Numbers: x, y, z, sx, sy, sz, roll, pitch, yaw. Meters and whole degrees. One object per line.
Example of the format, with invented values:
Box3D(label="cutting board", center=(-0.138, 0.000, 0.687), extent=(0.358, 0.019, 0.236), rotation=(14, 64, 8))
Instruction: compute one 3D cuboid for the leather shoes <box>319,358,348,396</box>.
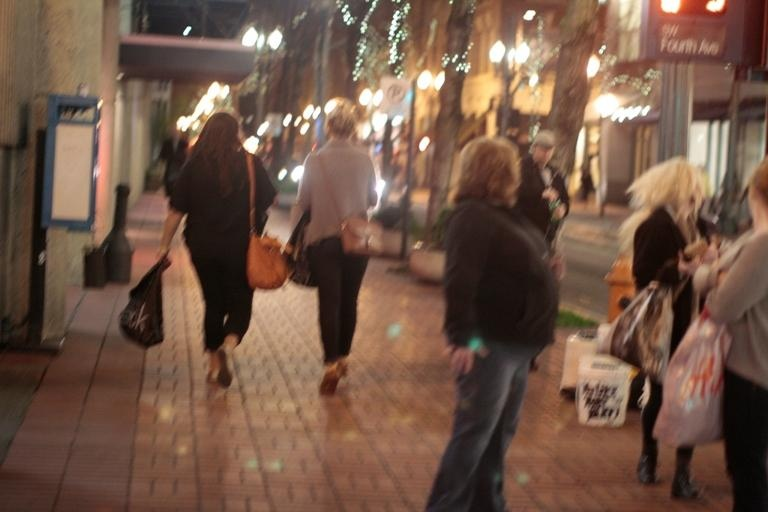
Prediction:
Box3D(label="leather shoes", center=(-0.546, 1.205, 6.131), extent=(0.220, 0.409, 0.144), rotation=(21, 6, -24))

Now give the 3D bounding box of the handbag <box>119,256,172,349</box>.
Box3D(label="handbag", center=(-2.310, 0.456, 5.790), extent=(0.439, 0.954, 0.371), rotation=(1, 5, -25))

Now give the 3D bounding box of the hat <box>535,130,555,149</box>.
Box3D(label="hat", center=(1.868, -1.390, 7.182), extent=(0.250, 0.197, 0.251), rotation=(-3, 9, -43))

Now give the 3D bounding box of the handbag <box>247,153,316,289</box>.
Box3D(label="handbag", center=(-1.018, -0.353, 5.749), extent=(0.636, 1.649, 0.158), rotation=(-3, 39, -10))

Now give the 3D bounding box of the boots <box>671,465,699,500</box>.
Box3D(label="boots", center=(2.125, 1.603, 4.253), extent=(0.158, 0.176, 0.085), rotation=(4, -5, 15))
